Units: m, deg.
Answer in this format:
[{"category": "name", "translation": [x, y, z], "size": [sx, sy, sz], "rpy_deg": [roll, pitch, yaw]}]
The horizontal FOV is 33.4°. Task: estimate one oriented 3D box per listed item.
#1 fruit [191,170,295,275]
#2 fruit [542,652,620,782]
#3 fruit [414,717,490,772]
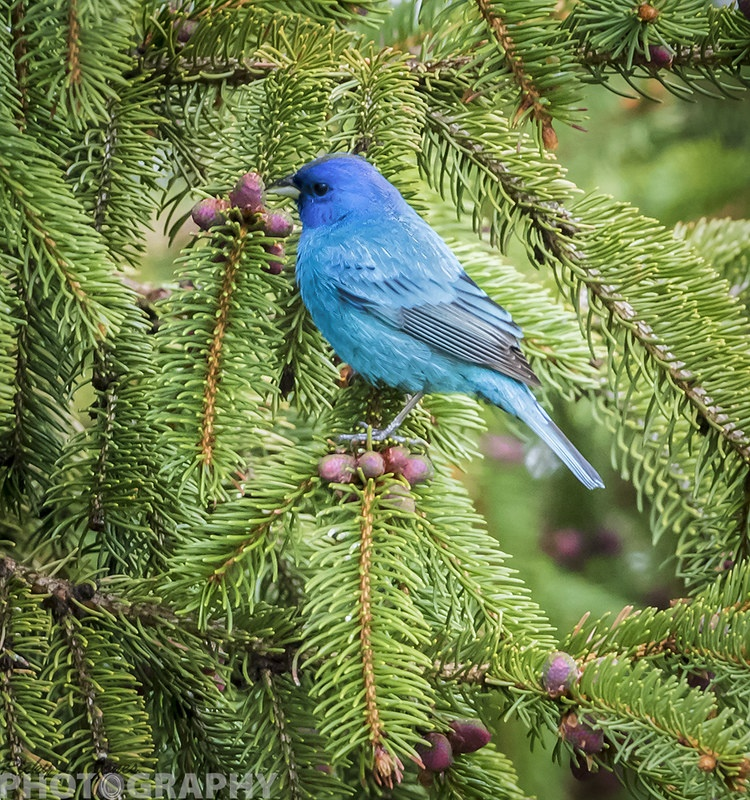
[{"category": "fruit", "translation": [-0.375, -0.546, 4.024], "size": [0.345, 0.124, 0.317], "rpy_deg": [-9, 38, -35]}, {"category": "fruit", "translation": [0.573, 0.907, 3.647], "size": [0.162, 0.155, 0.418], "rpy_deg": [-18, 89, 2]}, {"category": "fruit", "translation": [0.239, 1.034, 3.777], "size": [0.212, 0.091, 0.134], "rpy_deg": [-27, 46, -5]}]
